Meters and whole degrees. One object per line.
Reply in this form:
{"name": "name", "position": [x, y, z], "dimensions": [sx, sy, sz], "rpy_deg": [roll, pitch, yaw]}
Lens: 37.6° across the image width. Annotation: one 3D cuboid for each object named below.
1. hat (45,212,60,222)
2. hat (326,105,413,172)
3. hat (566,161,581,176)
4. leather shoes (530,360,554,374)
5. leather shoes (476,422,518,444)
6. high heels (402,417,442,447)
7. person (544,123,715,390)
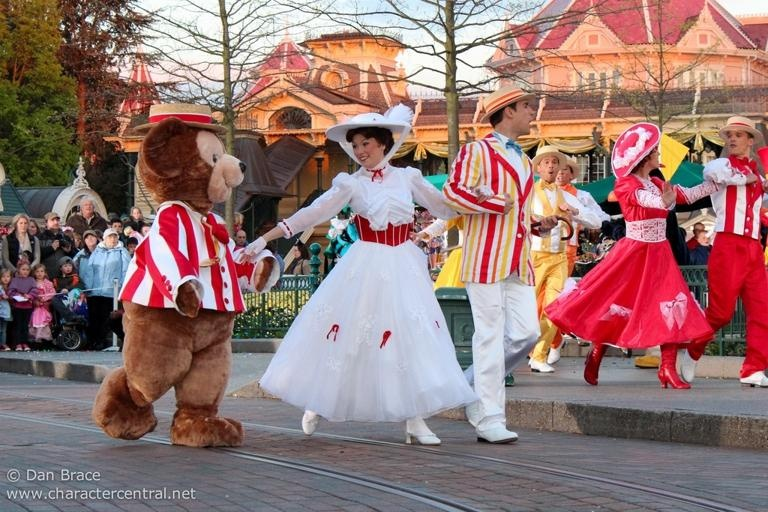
{"name": "hat", "position": [-5.980, -0.697, 20.310], "dimensions": [0.177, 0.089, 0.244], "rpy_deg": [2, -5, -44]}
{"name": "hat", "position": [-0.182, -1.257, 11.071], "dimensions": [0.723, 0.251, 0.722], "rpy_deg": [10, -27, -19]}
{"name": "hat", "position": [2.621, -1.255, 15.897], "dimensions": [0.067, 0.238, 0.272], "rpy_deg": [-2, -8, 39]}
{"name": "leather shoes", "position": [2.044, 1.452, 14.843], "dimensions": [0.361, 0.135, 0.131], "rpy_deg": [-3, -3, 26]}
{"name": "leather shoes", "position": [1.067, 1.680, 10.655], "dimensions": [0.358, 0.129, 0.193], "rpy_deg": [-5, -5, 40]}
{"name": "high heels", "position": [0.403, 1.660, 10.509], "dimensions": [0.161, 0.202, 0.463], "rpy_deg": [4, -8, -38]}
{"name": "person", "position": [2.855, 0.004, 12.815], "dimensions": [1.677, 3.017, 0.947], "rpy_deg": [1, -2, 14]}
